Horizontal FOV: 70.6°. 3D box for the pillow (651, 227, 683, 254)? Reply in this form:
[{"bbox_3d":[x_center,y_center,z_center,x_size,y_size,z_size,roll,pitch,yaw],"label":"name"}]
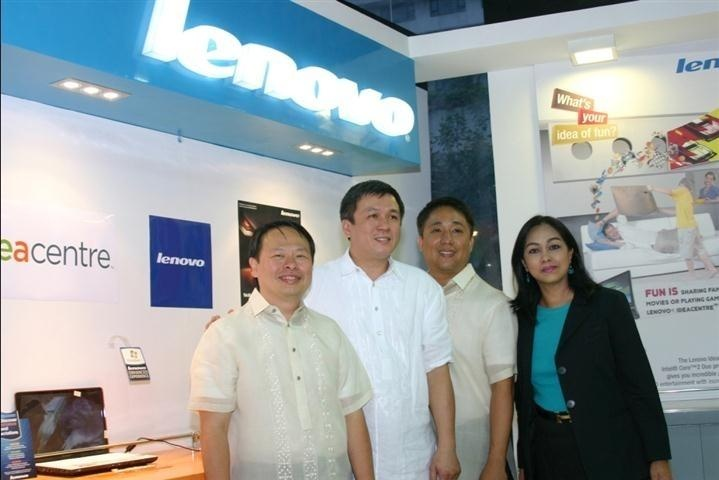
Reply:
[{"bbox_3d":[3.028,0.014,5.013,0.253,0.222,0.235,-5,-3,-18],"label":"pillow"}]

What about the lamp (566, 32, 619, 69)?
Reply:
[{"bbox_3d":[2.384,-1.968,5.192,0.300,0.071,0.271,-6,-33,23],"label":"lamp"}]
